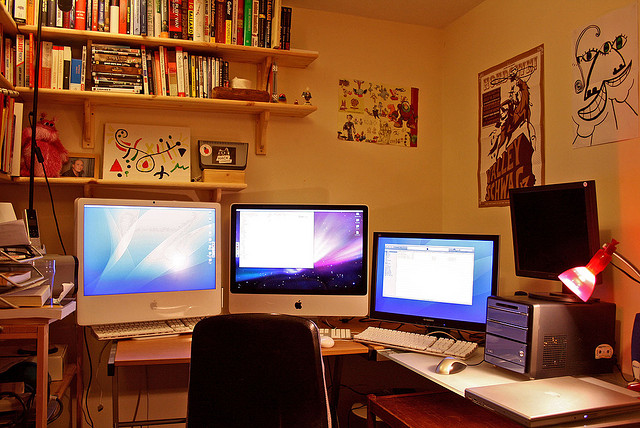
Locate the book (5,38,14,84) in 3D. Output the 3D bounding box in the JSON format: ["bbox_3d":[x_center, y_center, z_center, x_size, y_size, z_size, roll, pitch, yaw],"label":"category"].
[{"bbox_3d":[-1.737,-0.867,2.844,0.036,0.245,0.100,-1,2,-10],"label":"book"}]

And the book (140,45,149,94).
[{"bbox_3d":[-1.038,-0.845,2.997,0.036,0.333,0.275,0,-2,-18],"label":"book"}]

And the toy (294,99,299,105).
[{"bbox_3d":[-0.156,-0.731,3.310,0.025,0.044,0.016,0,-12,10],"label":"toy"}]

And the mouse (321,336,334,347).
[{"bbox_3d":[0.035,0.675,2.662,0.081,0.027,0.090,-2,11,-8],"label":"mouse"}]

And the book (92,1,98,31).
[{"bbox_3d":[-1.296,-1.150,2.926,0.030,0.165,0.014,-2,2,-26],"label":"book"}]

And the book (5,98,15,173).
[{"bbox_3d":[-1.621,-0.411,2.645,0.047,0.386,0.099,-3,3,-44],"label":"book"}]

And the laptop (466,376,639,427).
[{"bbox_3d":[0.997,0.806,2.180,0.688,0.092,0.236,-1,3,-13],"label":"laptop"}]

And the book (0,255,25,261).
[{"bbox_3d":[-1.353,0.196,2.233,0.093,0.018,0.050,-3,4,-32],"label":"book"}]

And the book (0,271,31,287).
[{"bbox_3d":[-1.336,0.284,2.230,0.109,0.065,0.075,-3,3,-33],"label":"book"}]

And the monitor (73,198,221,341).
[{"bbox_3d":[-0.951,0.308,2.738,0.778,0.742,0.233,1,-8,-23],"label":"monitor"}]

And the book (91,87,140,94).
[{"bbox_3d":[-1.190,-0.725,2.950,0.266,0.028,0.018,-1,3,-10],"label":"book"}]

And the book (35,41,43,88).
[{"bbox_3d":[-1.577,-0.850,2.850,0.039,0.272,0.136,-2,3,-27],"label":"book"}]

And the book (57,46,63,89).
[{"bbox_3d":[-1.493,-0.847,2.918,0.029,0.241,0.020,-1,2,-13],"label":"book"}]

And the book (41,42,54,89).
[{"bbox_3d":[-1.590,-0.892,2.979,0.064,0.181,0.195,-5,22,-25],"label":"book"}]

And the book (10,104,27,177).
[{"bbox_3d":[-1.679,-0.421,2.828,0.089,0.422,0.392,-2,3,-29],"label":"book"}]

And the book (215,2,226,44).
[{"bbox_3d":[-0.606,-1.171,3.084,0.068,0.239,0.012,-1,2,-13],"label":"book"}]

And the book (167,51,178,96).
[{"bbox_3d":[-0.882,-0.836,3.033,0.071,0.202,0.188,-5,-37,-8],"label":"book"}]

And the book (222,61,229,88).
[{"bbox_3d":[-0.589,-0.873,3.170,0.039,0.184,0.180,-1,3,-9],"label":"book"}]

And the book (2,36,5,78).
[{"bbox_3d":[-1.750,-0.879,2.808,0.014,0.216,0.067,-2,3,-31],"label":"book"}]

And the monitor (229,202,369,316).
[{"bbox_3d":[-0.118,0.283,2.902,0.610,0.508,0.189,1,-10,-1],"label":"monitor"}]

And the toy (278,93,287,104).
[{"bbox_3d":[-0.230,-0.735,3.225,0.055,0.067,0.078,2,12,-1],"label":"toy"}]

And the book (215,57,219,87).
[{"bbox_3d":[-0.633,-0.878,3.115,0.025,0.176,0.038,-1,2,-10],"label":"book"}]

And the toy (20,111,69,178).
[{"bbox_3d":[-1.587,-0.411,2.921,0.214,0.403,0.274,-1,3,-7],"label":"toy"}]

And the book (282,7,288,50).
[{"bbox_3d":[-0.220,-1.161,3.159,0.031,0.251,0.014,-1,2,-4],"label":"book"}]

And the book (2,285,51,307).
[{"bbox_3d":[-1.280,0.368,2.215,0.176,0.071,0.086,-3,3,-33],"label":"book"}]

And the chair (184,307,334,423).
[{"bbox_3d":[-0.212,0.616,2.295,0.455,0.661,0.511,0,-4,6],"label":"chair"}]

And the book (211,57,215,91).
[{"bbox_3d":[-0.657,-0.869,3.111,0.021,0.188,0.030,-1,2,-2],"label":"book"}]

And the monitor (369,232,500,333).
[{"bbox_3d":[0.646,0.383,2.817,0.570,0.420,0.070,2,-6,22],"label":"monitor"}]

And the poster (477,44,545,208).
[{"bbox_3d":[1.170,-0.522,3.156,0.116,0.966,0.519,-2,3,-23],"label":"poster"}]

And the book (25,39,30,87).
[{"bbox_3d":[-1.643,-0.851,2.853,0.030,0.261,0.030,-1,2,-16],"label":"book"}]

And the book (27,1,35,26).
[{"bbox_3d":[-1.619,-1.135,2.845,0.037,0.133,0.015,-2,3,-30],"label":"book"}]

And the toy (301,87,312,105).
[{"bbox_3d":[-0.087,-0.777,3.314,0.071,0.142,0.200,-1,3,-2],"label":"toy"}]

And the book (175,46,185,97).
[{"bbox_3d":[-0.840,-0.859,3.038,0.040,0.379,0.278,-3,5,-16],"label":"book"}]

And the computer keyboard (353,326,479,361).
[{"bbox_3d":[0.504,0.692,2.712,0.641,0.079,0.201,0,3,18],"label":"computer keyboard"}]

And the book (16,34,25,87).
[{"bbox_3d":[-1.675,-0.863,2.837,0.047,0.291,0.018,-2,3,-30],"label":"book"}]

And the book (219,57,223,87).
[{"bbox_3d":[-0.613,-0.886,3.141,0.022,0.200,0.102,-1,2,-11],"label":"book"}]

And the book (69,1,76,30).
[{"bbox_3d":[-1.414,-1.144,2.901,0.036,0.161,0.014,-2,3,-26],"label":"book"}]

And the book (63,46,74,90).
[{"bbox_3d":[-1.457,-0.841,2.926,0.045,0.186,0.185,2,20,-14],"label":"book"}]

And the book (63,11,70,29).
[{"bbox_3d":[-1.447,-1.113,2.896,0.035,0.093,0.007,-1,2,-8],"label":"book"}]

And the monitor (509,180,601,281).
[{"bbox_3d":[1.195,0.086,2.564,0.091,0.604,0.514,0,-3,-32],"label":"monitor"}]

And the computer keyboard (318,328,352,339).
[{"bbox_3d":[0.089,0.672,2.840,0.179,0.032,0.101,-1,3,0],"label":"computer keyboard"}]
